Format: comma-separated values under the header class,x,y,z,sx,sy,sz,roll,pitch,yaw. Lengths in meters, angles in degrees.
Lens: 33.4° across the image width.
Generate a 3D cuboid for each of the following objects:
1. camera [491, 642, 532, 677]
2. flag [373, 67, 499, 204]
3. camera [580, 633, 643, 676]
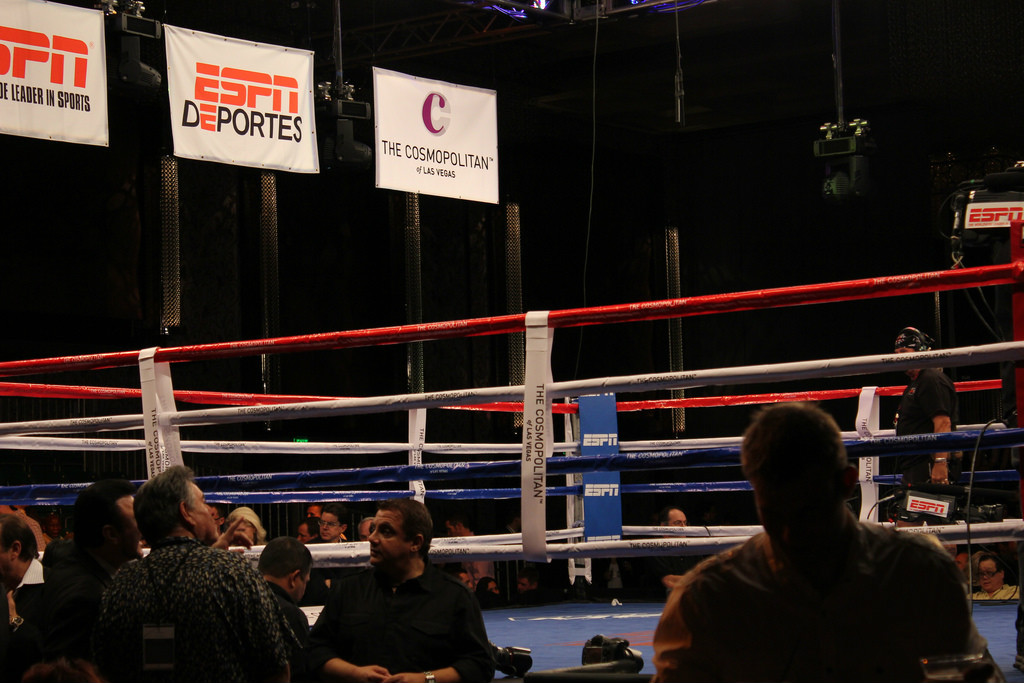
class,x,y,z,sx,sy,sz,roll,pitch,yaw
camera,0.006,2.453,13.229,0.378,0.294,0.372,-1,-5,3
flag,-0.796,-2.102,17.630,0.048,1.218,1.741,-4,-4,44
camera,0.718,2.343,12.944,0.418,0.256,0.288,-7,-34,25
